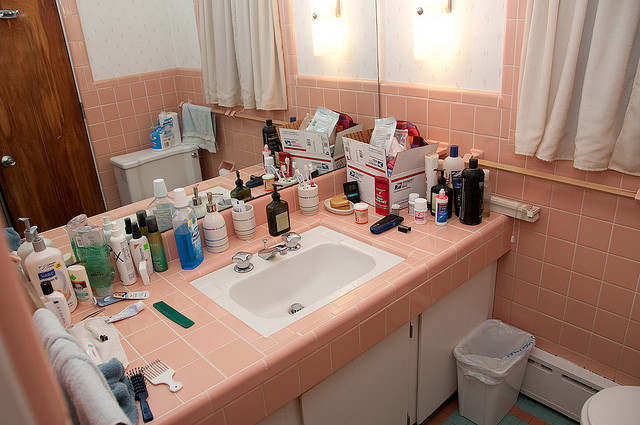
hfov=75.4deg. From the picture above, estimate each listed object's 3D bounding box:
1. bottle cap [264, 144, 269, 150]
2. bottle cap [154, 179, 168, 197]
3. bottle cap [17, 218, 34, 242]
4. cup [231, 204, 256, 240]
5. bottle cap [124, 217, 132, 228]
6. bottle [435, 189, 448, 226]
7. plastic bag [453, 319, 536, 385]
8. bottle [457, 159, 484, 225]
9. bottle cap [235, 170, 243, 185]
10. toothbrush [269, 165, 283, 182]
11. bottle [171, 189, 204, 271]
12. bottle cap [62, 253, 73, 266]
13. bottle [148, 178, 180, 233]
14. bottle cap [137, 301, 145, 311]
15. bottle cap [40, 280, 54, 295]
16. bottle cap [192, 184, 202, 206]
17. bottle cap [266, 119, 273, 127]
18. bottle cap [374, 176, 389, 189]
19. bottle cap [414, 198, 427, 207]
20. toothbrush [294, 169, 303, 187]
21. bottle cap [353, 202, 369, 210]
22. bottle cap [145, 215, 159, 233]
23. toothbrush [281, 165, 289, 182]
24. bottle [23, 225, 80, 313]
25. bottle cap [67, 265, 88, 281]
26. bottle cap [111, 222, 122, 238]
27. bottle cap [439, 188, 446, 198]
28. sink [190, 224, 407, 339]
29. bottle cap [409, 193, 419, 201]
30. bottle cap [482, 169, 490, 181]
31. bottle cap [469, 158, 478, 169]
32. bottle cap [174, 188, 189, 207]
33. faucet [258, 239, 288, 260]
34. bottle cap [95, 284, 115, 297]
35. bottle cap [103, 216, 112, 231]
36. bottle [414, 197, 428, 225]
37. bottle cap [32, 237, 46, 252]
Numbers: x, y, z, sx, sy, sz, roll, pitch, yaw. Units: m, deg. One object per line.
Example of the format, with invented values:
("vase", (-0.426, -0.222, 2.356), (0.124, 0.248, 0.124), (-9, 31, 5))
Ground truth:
("bottle cap", (-0.268, -0.329, 2.054), (0.017, 0.034, 0.018), (21, 36, 34))
("bottle cap", (-0.657, -0.111, 1.729), (0.061, 0.062, 0.054), (-24, 35, -36))
("bottle cap", (-0.994, 0.054, 1.400), (0.032, 0.096, 0.024), (-21, 31, -35))
("cup", (-0.358, 0.052, 1.992), (0.092, 0.138, 0.131), (4, 16, 32))
("bottle cap", (-0.770, 0.038, 1.646), (0.022, 0.042, 0.023), (19, 32, 29))
("bottle", (0.586, -0.025, 1.978), (0.062, 0.174, 0.046), (4, 26, 15))
("plastic bag", (0.891, 0.714, 2.125), (0.409, 0.295, 0.268), (-27, 32, -36))
("bottle", (0.719, -0.096, 1.940), (0.112, 0.320, 0.062), (7, 27, 21))
("bottle cap", (-0.386, -0.167, 1.939), (0.009, 0.079, 0.047), (11, 28, 27))
("toothbrush", (-0.226, -0.201, 2.105), (0.064, 0.095, 0.011), (-13, 27, -21))
("bottle", (-0.563, 0.059, 1.758), (0.078, 0.344, 0.150), (2, 25, 10))
("bottle cap", (-0.969, 0.177, 1.586), (0.043, 0.034, 0.042), (-16, 32, -27))
("bottle", (-0.652, -0.041, 1.711), (0.125, 0.228, 0.060), (-35, 60, -28))
("bottle cap", (-0.682, 0.355, 1.570), (0.020, 0.026, 0.021), (-17, 28, -28))
("bottle cap", (-0.928, 0.255, 1.395), (0.031, 0.051, 0.031), (16, 25, 38))
("bottle cap", (-0.543, -0.076, 1.811), (0.044, 0.098, 0.015), (-17, 29, -29))
("bottle cap", (-0.251, -0.444, 2.025), (0.007, 0.036, 0.042), (11, 28, 28))
("bottle cap", (0.308, -0.155, 2.080), (0.019, 0.055, 0.091), (-23, 32, -37))
("bottle cap", (0.489, -0.052, 2.007), (0.041, 0.032, 0.043), (3, 16, 23))
("toothbrush", (-0.113, -0.194, 2.172), (0.030, 0.116, 0.030), (-3, -19, -27))
("bottle cap", (0.203, -0.035, 2.063), (0.040, 0.018, 0.039), (-10, 20, -25))
("bottle cap", (-0.693, 0.046, 1.690), (0.039, 0.073, 0.038), (-15, 28, -25))
("toothbrush", (-0.190, -0.207, 2.140), (0.034, 0.068, 0.066), (7, 28, -1))
("bottle", (-0.956, 0.222, 1.457), (0.124, 0.358, 0.125), (-2, 25, 1))
("bottle cap", (-0.919, 0.225, 1.560), (0.057, 0.048, 0.059), (-17, 29, -28))
("bottle cap", (-0.793, 0.065, 1.592), (0.026, 0.057, 0.032), (20, 33, 40))
("bottle cap", (0.582, -0.096, 1.967), (0.026, 0.035, 0.039), (5, 26, 16))
("sink", (-0.079, 0.287, 1.777), (0.794, 0.265, 0.515), (-20, 31, -34))
("bottle cap", (0.478, -0.081, 2.078), (0.036, 0.024, 0.036), (-3, 19, 8))
("bottle cap", (0.788, -0.179, 1.968), (0.014, 0.064, 0.072), (16, 31, 35))
("bottle cap", (0.706, -0.229, 1.895), (0.038, 0.052, 0.036), (2, 25, 11))
("bottle cap", (-0.572, -0.061, 1.684), (0.063, 0.069, 0.065), (13, 27, 26))
("faucet", (-0.214, 0.171, 1.864), (0.115, 0.082, 0.035), (15, 30, 27))
("bottle cap", (-0.846, 0.311, 1.625), (0.048, 0.050, 0.047), (13, 28, 25))
("bottle cap", (-0.815, 0.038, 1.577), (0.028, 0.050, 0.028), (7, 33, 1))
("bottle", (0.491, -0.006, 2.024), (0.079, 0.135, 0.080), (-3, 25, 1))
("bottle cap", (-0.972, 0.111, 1.424), (0.039, 0.073, 0.039), (-14, 21, -29))
